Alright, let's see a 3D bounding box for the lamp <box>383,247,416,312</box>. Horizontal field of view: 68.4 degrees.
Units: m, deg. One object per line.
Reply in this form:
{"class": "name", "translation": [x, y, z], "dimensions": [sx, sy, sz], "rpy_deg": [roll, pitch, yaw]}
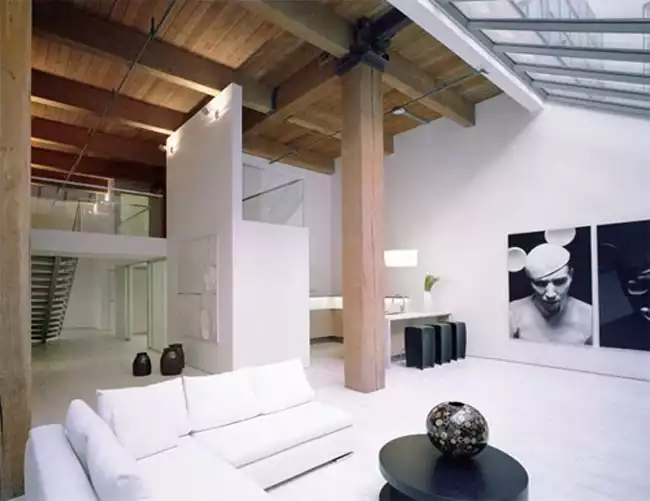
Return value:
{"class": "lamp", "translation": [1.525, 0.533, 9.535], "dimensions": [0.627, 1.276, 1.285], "rpy_deg": [-4, -5, 11]}

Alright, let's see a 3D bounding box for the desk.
{"class": "desk", "translation": [2.088, 1.650, 9.165], "dimensions": [0.466, 0.814, 1.487], "rpy_deg": [-26, -11, 32]}
